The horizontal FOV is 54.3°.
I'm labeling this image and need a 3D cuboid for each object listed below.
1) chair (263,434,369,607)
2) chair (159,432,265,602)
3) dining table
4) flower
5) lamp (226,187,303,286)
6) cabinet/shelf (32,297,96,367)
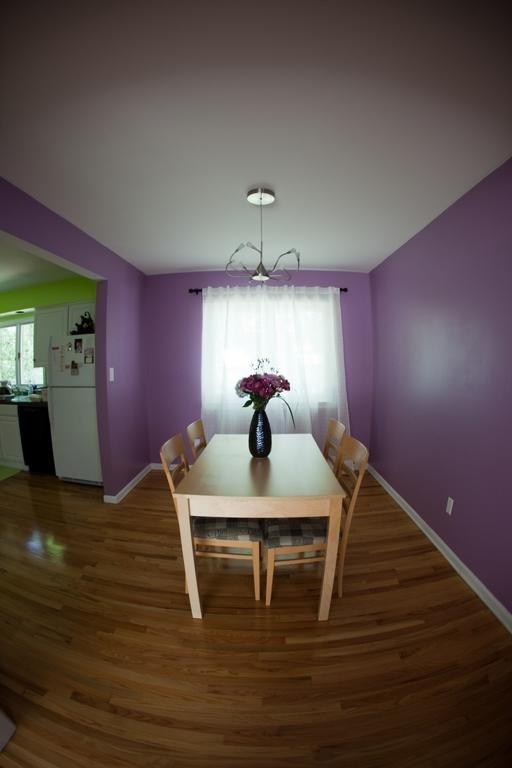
[{"bbox_3d":[0.251,0.697,2.596,0.471,0.763,0.480,1,6,-4],"label":"chair"},{"bbox_3d":[-0.144,0.661,2.871,0.673,1.172,0.671,-2,4,6],"label":"chair"},{"bbox_3d":[0.041,0.734,2.668,0.766,0.672,0.885,0,8,4],"label":"dining table"},{"bbox_3d":[0.037,0.021,2.939,0.441,0.394,0.578,-3,-6,-1],"label":"flower"},{"bbox_3d":[0.030,-0.902,3.058,0.438,0.544,0.442,0,-4,-32],"label":"lamp"},{"bbox_3d":[-1.697,-0.381,4.574,0.628,0.582,0.221,-4,-20,6],"label":"cabinet/shelf"}]
